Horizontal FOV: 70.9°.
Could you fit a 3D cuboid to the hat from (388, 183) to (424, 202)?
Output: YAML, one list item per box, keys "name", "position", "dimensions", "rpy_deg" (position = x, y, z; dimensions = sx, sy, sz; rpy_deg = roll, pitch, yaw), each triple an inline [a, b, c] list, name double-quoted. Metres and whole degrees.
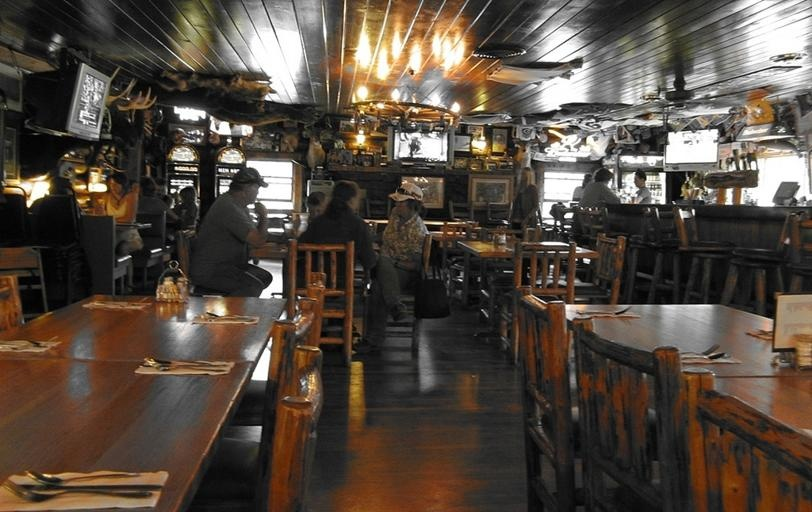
- name: "hat"
  position: [0.073, -0.641, 5.613]
  dimensions: [0.378, 0.154, 0.266]
  rpy_deg: [9, -2, -28]

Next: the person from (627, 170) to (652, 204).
- name: "person"
  position: [4.264, -1.254, 10.263]
  dimensions: [0.406, 0.562, 0.856]
  rpy_deg: [5, 17, 27]

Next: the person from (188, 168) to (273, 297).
- name: "person"
  position: [-1.615, -0.113, 5.177]
  dimensions: [0.841, 1.242, 0.711]
  rpy_deg: [4, 2, -11]

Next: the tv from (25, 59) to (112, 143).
- name: "tv"
  position: [-4.120, -1.886, 6.993]
  dimensions: [0.837, 0.860, 1.662]
  rpy_deg: [-5, 12, -30]

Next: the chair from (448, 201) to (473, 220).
- name: "chair"
  position: [1.234, -1.010, 12.631]
  dimensions: [0.454, 0.589, 0.480]
  rpy_deg: [1, -2, -11]

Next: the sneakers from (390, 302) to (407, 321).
- name: "sneakers"
  position: [-0.062, 0.507, 5.146]
  dimensions: [0.142, 0.169, 0.194]
  rpy_deg: [0, 11, -8]

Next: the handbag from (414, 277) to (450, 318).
- name: "handbag"
  position: [0.232, 0.374, 5.001]
  dimensions: [0.289, 0.349, 0.230]
  rpy_deg: [1, 11, 0]

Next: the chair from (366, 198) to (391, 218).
- name: "chair"
  position: [-0.598, -1.017, 12.475]
  dimensions: [0.545, 0.697, 0.498]
  rpy_deg: [1, -1, -2]

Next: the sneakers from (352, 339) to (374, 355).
- name: "sneakers"
  position: [-0.388, 0.853, 5.309]
  dimensions: [0.114, 0.077, 0.212]
  rpy_deg: [-1, -7, 19]

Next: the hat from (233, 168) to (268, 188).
- name: "hat"
  position: [-1.371, -0.707, 5.126]
  dimensions: [0.210, 0.139, 0.304]
  rpy_deg: [11, 13, 44]

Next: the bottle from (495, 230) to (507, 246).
- name: "bottle"
  position: [1.086, -0.206, 6.509]
  dimensions: [0.159, 0.124, 0.258]
  rpy_deg: [-2, -4, 6]

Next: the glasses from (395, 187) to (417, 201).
- name: "glasses"
  position: [0.000, -0.606, 5.532]
  dimensions: [0.218, 0.063, 0.127]
  rpy_deg: [2, 1, -21]
